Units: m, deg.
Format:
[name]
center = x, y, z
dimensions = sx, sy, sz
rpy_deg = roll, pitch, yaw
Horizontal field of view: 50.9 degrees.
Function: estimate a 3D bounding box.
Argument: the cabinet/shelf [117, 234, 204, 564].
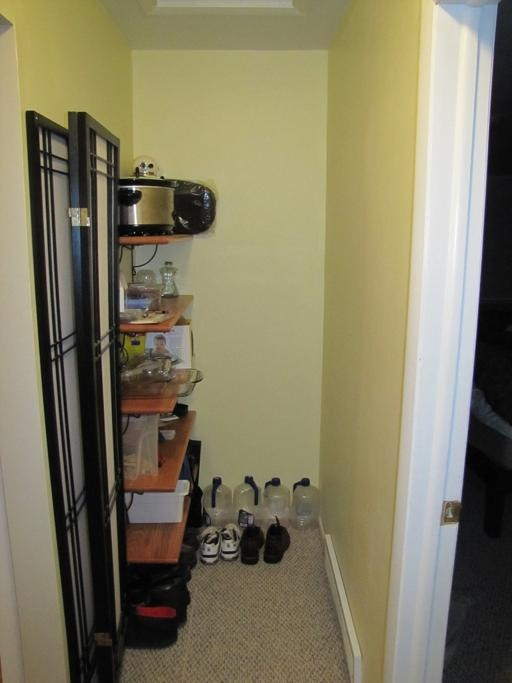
[cabinet/shelf]
center = -0.385, 0.284, 2.119
dimensions = 0.288, 1.388, 0.832
rpy_deg = 0, 9, -7
